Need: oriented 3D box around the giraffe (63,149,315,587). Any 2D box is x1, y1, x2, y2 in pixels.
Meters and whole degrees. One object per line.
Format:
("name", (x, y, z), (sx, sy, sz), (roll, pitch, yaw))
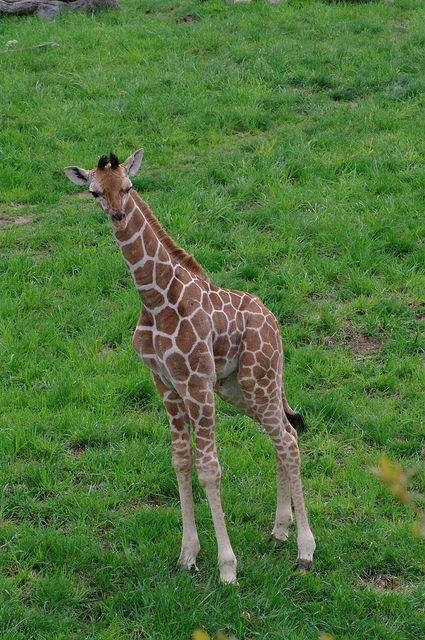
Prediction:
("giraffe", (-0.038, 0.268, 4.906), (1.031, 2.462, 0.929), (-9, 20, -7))
